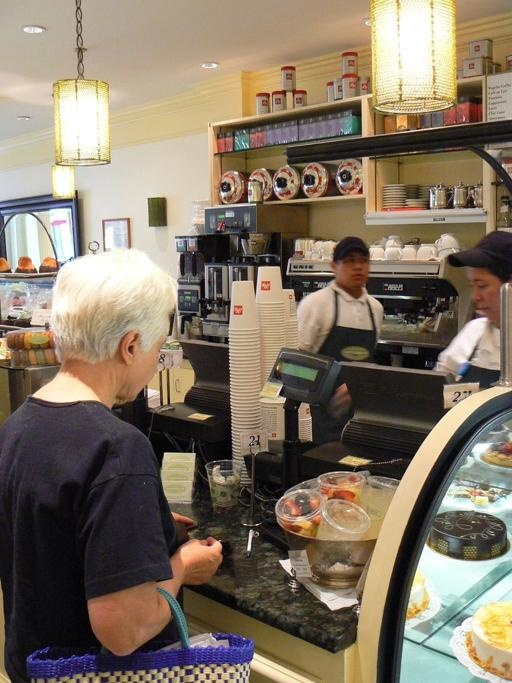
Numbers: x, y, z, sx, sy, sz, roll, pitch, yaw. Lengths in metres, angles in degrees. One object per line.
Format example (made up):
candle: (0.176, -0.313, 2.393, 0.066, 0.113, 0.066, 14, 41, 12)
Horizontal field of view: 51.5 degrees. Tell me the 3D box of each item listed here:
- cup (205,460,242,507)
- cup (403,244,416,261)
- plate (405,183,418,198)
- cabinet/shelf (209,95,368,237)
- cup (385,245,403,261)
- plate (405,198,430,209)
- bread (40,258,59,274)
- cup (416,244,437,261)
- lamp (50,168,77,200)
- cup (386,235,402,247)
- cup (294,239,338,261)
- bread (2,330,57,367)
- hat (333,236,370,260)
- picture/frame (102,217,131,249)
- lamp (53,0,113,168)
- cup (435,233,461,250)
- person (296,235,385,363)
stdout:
cup: (-0.090, 0.386, 1.456, 0.118, 0.126, 0.117, -1, -8, 0)
cup: (1.090, -0.629, 3.787, 0.114, 0.101, 0.110, 0, 2, 0)
plate: (1.171, -1.127, 3.992, 0.101, 0.108, 0.103, 0, 14, 5)
cabinet/shelf: (0.370, -1.469, 4.698, 1.757, 1.123, 0.721, 4, 11, 41)
cup: (0.994, -0.627, 3.837, 0.086, 0.070, 0.112, -3, 9, -17)
plate: (1.170, -0.993, 3.889, 0.113, 0.034, 0.109, -2, 8, -20)
bread: (-1.259, -0.457, 3.231, 0.153, 0.062, 0.190, 2, 13, -13)
cup: (1.195, -0.613, 3.715, 0.106, 0.118, 0.136, -4, 12, -22)
lamp: (-1.924, -1.603, 5.272, 0.190, 0.329, 0.674, -7, 9, -20)
cup: (1.041, -0.753, 4.010, 0.086, 0.097, 0.108, -1, -4, 4)
cup: (0.499, -0.776, 4.533, 0.276, 0.126, 0.395, 5, 7, 40)
bread: (-0.838, 0.030, 1.994, 0.188, 0.119, 0.182, -2, 1, 6)
hat: (0.540, -0.516, 3.069, 0.131, 0.089, 0.178, 2, -9, 6)
picture/frame: (-1.812, -1.389, 6.850, 0.148, 0.386, 0.577, -11, 11, -42)
lamp: (-0.880, -1.093, 2.676, 0.289, 0.378, 0.251, -6, 9, -16)
cup: (1.342, -0.693, 3.749, 0.140, 0.126, 0.138, 2, 7, 0)
person: (0.479, -0.237, 3.028, 0.462, 0.697, 0.355, -2, 9, 12)
